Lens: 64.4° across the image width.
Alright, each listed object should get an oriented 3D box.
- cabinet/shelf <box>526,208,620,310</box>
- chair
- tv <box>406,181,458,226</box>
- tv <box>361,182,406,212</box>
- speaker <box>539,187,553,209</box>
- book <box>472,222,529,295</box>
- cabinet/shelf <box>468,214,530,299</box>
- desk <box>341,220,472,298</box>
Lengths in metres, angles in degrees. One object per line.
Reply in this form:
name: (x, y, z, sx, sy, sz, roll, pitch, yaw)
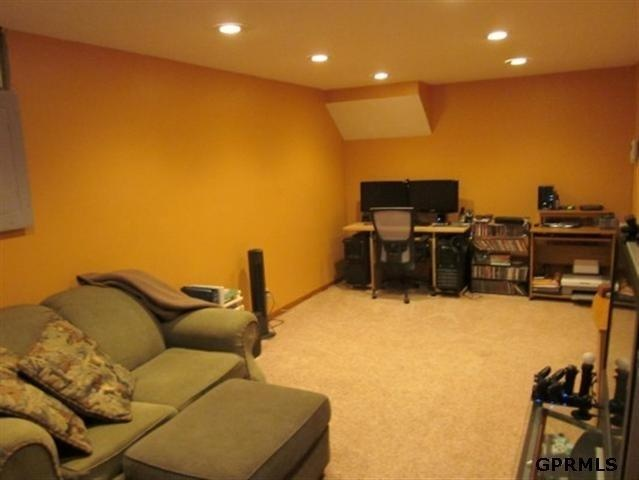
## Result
cabinet/shelf: (2.681, 0.149, 5.385, 0.754, 1.018, 0.542, 2, 15, 29)
chair: (0.874, 0.106, 5.883, 0.511, 1.063, 1.028, -1, 12, 9)
tv: (1.343, -0.459, 5.991, 0.535, 0.478, 0.193, 1, 5, 25)
tv: (0.799, -0.564, 6.275, 0.558, 0.386, 0.117, -3, 8, 16)
speaker: (2.450, -0.460, 5.477, 0.153, 0.232, 0.076, 2, 13, 21)
book: (2.042, 0.199, 5.659, 0.729, 1.043, 0.565, 1, 5, 23)
cabinet/shelf: (2.086, 0.294, 5.857, 0.625, 0.889, 0.464, 1, -26, 19)
desk: (1.033, 0.002, 5.920, 1.437, 0.907, 0.803, 0, 2, 25)
